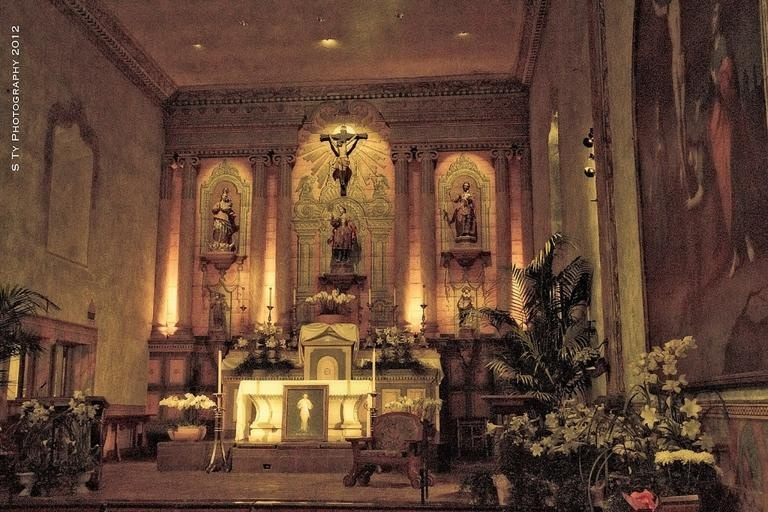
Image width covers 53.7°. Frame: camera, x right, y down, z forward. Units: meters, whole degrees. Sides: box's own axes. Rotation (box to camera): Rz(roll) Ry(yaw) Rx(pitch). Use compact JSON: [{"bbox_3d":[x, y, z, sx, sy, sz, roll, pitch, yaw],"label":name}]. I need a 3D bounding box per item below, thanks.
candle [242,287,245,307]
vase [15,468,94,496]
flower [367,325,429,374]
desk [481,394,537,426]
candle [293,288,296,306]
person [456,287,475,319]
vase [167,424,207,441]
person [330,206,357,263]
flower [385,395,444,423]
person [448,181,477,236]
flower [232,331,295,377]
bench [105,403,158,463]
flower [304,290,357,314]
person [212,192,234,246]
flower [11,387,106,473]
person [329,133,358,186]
[{"bbox_3d":[-3.487,0.984,18.785,0.102,0.424,0.036,-3,-17,8],"label":"candle"},{"bbox_3d":[-4.397,3.024,10.133,0.938,0.311,0.377,6,-19,-20],"label":"vase"},{"bbox_3d":[0.242,1.935,15.741,0.891,0.849,0.542,0,-17,8],"label":"flower"},{"bbox_3d":[1.972,2.366,11.946,0.743,0.485,0.780,1,-23,4],"label":"desk"},{"bbox_3d":[-2.204,0.992,18.726,0.036,0.408,0.160,9,-20,-29],"label":"candle"},{"bbox_3d":[1.961,1.167,18.314,0.432,0.299,0.982,2,-57,6],"label":"person"},{"bbox_3d":[-3.465,3.090,13.324,0.595,0.295,0.384,6,-19,-19],"label":"vase"},{"bbox_3d":[-1.013,-0.546,18.629,0.600,1.418,0.776,-4,-18,11],"label":"person"},{"bbox_3d":[0.566,2.577,12.965,0.586,0.300,0.899,-1,-17,5],"label":"flower"},{"bbox_3d":[1.925,-1.115,18.500,0.644,1.504,0.530,-2,-17,5],"label":"person"},{"bbox_3d":[-2.487,2.052,15.722,0.913,0.617,0.958,-2,-6,42],"label":"flower"},{"bbox_3d":[-5.448,3.752,16.155,0.492,1.237,2.415,2,-18,-6],"label":"bench"},{"bbox_3d":[-1.178,0.978,16.677,0.841,0.440,0.710,0,-10,5],"label":"flower"},{"bbox_3d":[-3.993,-0.923,18.953,0.576,1.577,0.518,3,-17,-11],"label":"person"},{"bbox_3d":[-4.575,2.433,10.459,1.247,1.261,1.032,1,-1,-4],"label":"flower"},{"bbox_3d":[-0.995,-2.365,18.967,0.705,1.264,0.609,0,-17,1],"label":"person"}]
